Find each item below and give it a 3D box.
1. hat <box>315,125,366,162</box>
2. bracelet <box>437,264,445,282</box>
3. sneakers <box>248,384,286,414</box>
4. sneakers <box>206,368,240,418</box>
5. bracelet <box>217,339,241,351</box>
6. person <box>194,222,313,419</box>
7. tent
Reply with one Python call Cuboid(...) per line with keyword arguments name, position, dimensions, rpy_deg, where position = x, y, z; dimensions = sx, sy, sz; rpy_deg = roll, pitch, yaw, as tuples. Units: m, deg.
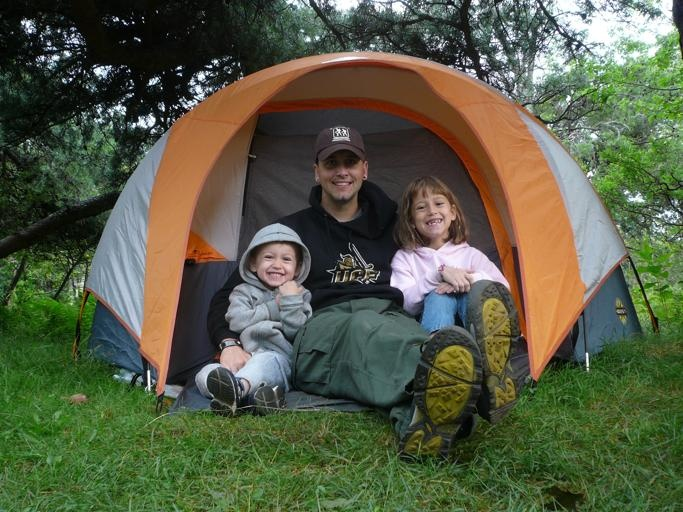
Cuboid(name="hat", position=(-0.014, -0.866, 3.982), dimensions=(0.423, 0.316, 0.607), rpy_deg=(-1, -4, -2))
Cuboid(name="bracelet", position=(0.651, 0.103, 3.420), dimensions=(0.046, 0.090, 0.062), rpy_deg=(5, 0, 8))
Cuboid(name="sneakers", position=(-0.422, 0.828, 2.967), dimensions=(0.207, 0.129, 0.083), rpy_deg=(-5, -9, -32))
Cuboid(name="sneakers", position=(-0.634, 0.739, 2.929), dimensions=(0.138, 0.331, 0.133), rpy_deg=(-10, 13, 16))
Cuboid(name="bracelet", position=(-0.733, 0.575, 3.390), dimensions=(0.111, 0.082, 0.106), rpy_deg=(-12, -31, 35))
Cuboid(name="person", position=(-0.552, 0.381, 3.290), dimensions=(0.590, 1.096, 1.386), rpy_deg=(2, 1, 2))
Cuboid(name="tent", position=(0.003, -0.450, 4.636), dimensions=(3.877, 2.121, 2.785), rpy_deg=(0, -6, -2))
